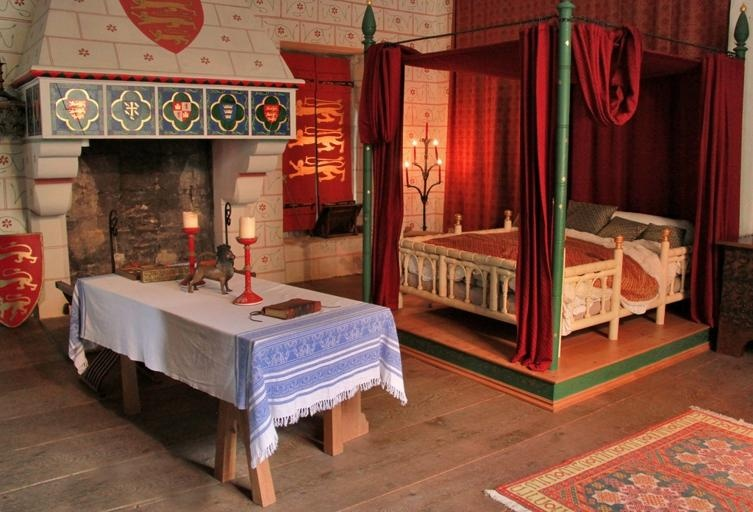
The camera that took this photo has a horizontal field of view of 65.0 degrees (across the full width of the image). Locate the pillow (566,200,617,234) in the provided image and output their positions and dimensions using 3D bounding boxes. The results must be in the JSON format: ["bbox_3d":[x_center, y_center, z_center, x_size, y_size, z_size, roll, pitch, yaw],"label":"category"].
[{"bbox_3d":[2.602,-0.483,7.339,0.449,0.484,0.148,14,-19,41],"label":"pillow"}]

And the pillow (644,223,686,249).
[{"bbox_3d":[3.269,-0.186,6.715,0.351,0.109,0.362,4,20,-28],"label":"pillow"}]

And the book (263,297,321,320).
[{"bbox_3d":[-0.595,0.378,4.211,0.204,0.055,0.207,5,10,40],"label":"book"}]

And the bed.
[{"bbox_3d":[2.030,0.151,6.140,1.956,0.775,1.918,-5,10,-35],"label":"bed"}]

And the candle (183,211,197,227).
[{"bbox_3d":[-1.552,-0.303,4.876,0.140,0.155,0.139,-2,4,-10],"label":"candle"}]

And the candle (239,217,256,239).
[{"bbox_3d":[-0.948,-0.198,4.278,0.116,0.158,0.125,-9,13,-16],"label":"candle"}]

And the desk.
[{"bbox_3d":[-1.095,0.913,4.535,2.401,1.381,1.128,3,15,31],"label":"desk"}]

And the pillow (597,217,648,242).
[{"bbox_3d":[2.894,-0.327,7.006,0.419,0.136,0.448,8,47,41],"label":"pillow"}]
